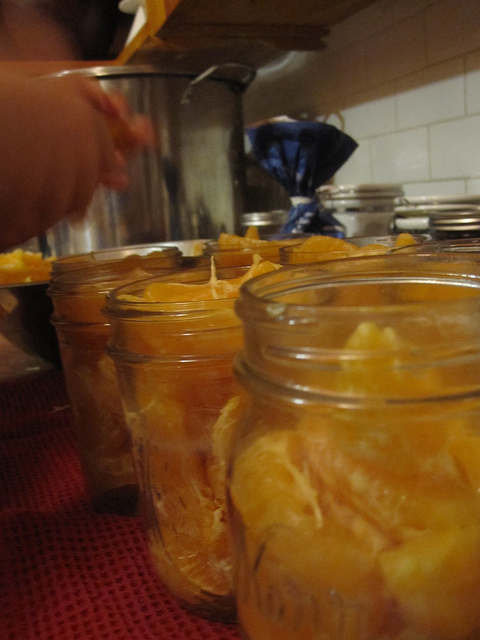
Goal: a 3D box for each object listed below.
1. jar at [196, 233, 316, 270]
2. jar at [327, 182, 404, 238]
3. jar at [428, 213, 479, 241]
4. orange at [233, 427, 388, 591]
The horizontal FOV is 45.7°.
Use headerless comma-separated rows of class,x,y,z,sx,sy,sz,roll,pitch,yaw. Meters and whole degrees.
jar,0.007,-0.059,0.498,0.086,0.029,0.089,-2,5,0
jar,0.221,-0.197,1.012,0.131,0.094,0.106,1,9,14
jar,0.270,-0.118,0.719,0.054,0.032,0.151,2,9,15
orange,0.021,0.064,0.185,0.048,0.019,0.052,4,16,6
